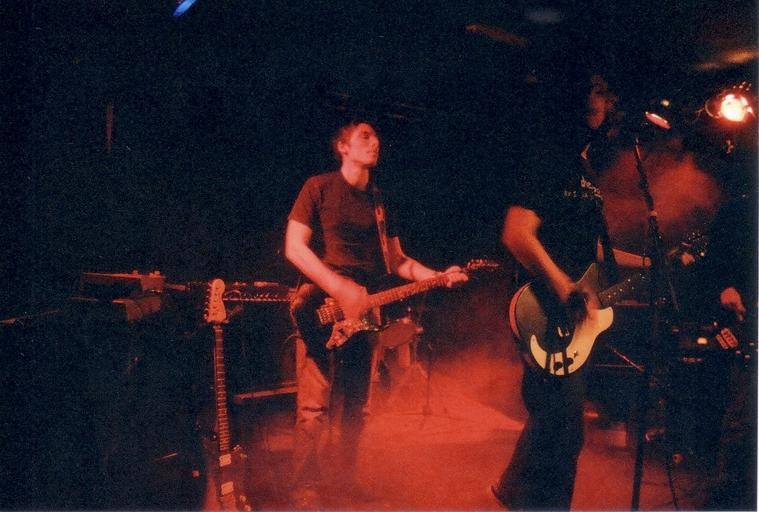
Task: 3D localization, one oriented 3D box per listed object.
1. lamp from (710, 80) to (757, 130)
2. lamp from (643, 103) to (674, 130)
[{"bbox_3d":[2.239,-0.965,4.904,0.319,0.238,0.118,-5,-21,5],"label":"lamp"},{"bbox_3d":[1.777,-0.896,4.916,0.159,0.161,0.043,17,-1,0],"label":"lamp"}]
